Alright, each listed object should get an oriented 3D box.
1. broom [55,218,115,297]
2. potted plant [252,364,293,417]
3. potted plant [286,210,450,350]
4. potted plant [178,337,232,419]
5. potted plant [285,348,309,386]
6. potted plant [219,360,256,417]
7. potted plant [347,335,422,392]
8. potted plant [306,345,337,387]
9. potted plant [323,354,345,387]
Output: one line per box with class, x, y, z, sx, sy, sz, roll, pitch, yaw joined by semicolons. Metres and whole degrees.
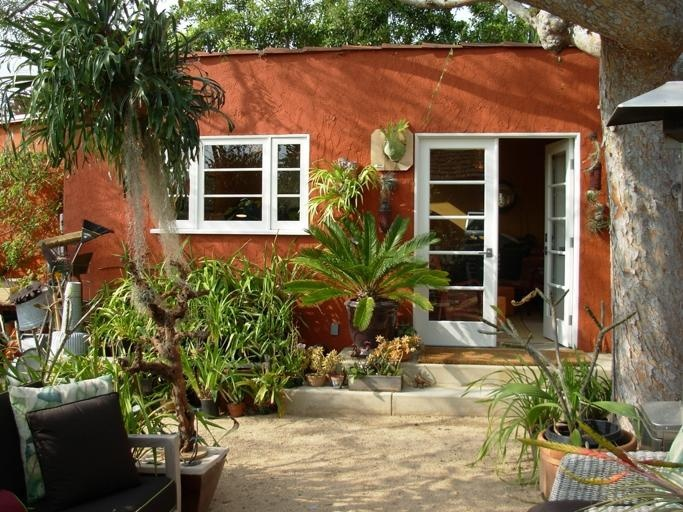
broom;-2.303;0.049;5.933;0.401;0.784;0.370;7;5;40
potted plant;-0.596;1.171;5.646;0.317;0.393;0.277;-2;9;-6
potted plant;0.250;0.086;6.250;1.169;1.388;1.014;0;5;3
potted plant;-1.104;0.821;5.631;0.531;0.975;0.618;-1;4;-22
potted plant;-0.387;1.018;5.863;0.231;0.322;0.258;2;-4;2
potted plant;-0.901;1.153;5.677;0.209;0.462;0.276;3;6;-24
potted plant;0.384;0.953;5.786;0.639;0.406;0.420;-1;9;0
potted plant;-0.163;1.012;5.947;0.290;0.334;0.268;2;-9;2
potted plant;-0.041;1.024;5.852;0.208;0.261;0.272;4;10;28
